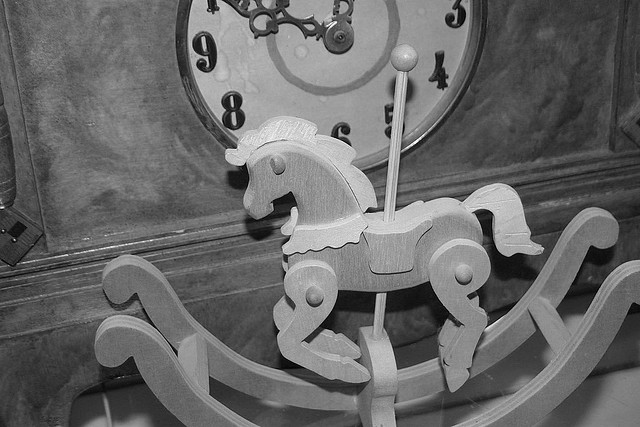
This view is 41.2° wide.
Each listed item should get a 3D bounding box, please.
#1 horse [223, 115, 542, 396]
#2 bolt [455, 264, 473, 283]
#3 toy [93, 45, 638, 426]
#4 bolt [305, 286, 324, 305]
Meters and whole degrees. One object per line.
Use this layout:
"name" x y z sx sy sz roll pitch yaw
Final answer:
"horse" 0.119 0.079 1.945 0.653 0.180 0.626 -2 -67 -1
"bolt" 0.303 0.126 1.807 0.037 0.020 0.034 -5 -53 -6
"toy" 0.143 -0.026 2.263 1.280 0.748 1.038 -2 -75 -5
"bolt" -0.011 0.171 1.789 0.038 0.020 0.036 -7 -52 -4
